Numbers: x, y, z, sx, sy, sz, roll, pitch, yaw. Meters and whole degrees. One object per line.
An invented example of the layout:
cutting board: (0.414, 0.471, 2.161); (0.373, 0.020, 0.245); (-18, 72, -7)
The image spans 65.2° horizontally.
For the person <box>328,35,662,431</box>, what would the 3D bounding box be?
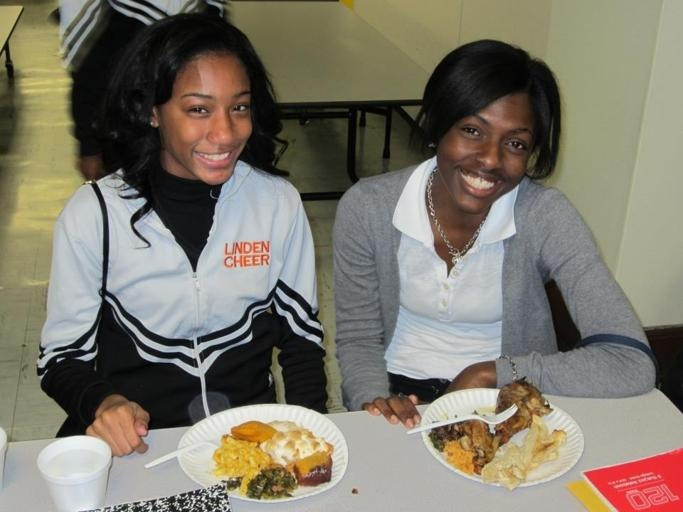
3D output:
person: (0.375, -0.042, 1.423); (0.797, 0.983, 0.618); (0, 22, -2)

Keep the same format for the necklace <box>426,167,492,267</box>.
necklace: (0.338, -0.105, 1.527); (0.163, 0.293, 0.045); (3, 1, 5)

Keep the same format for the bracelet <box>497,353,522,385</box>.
bracelet: (0.406, 0.278, 1.308); (0.055, 0.065, 0.029); (-19, -7, -3)

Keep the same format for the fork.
fork: (0.259, 0.355, 1.152); (0.164, 0.029, 0.028); (-10, 32, -2)
